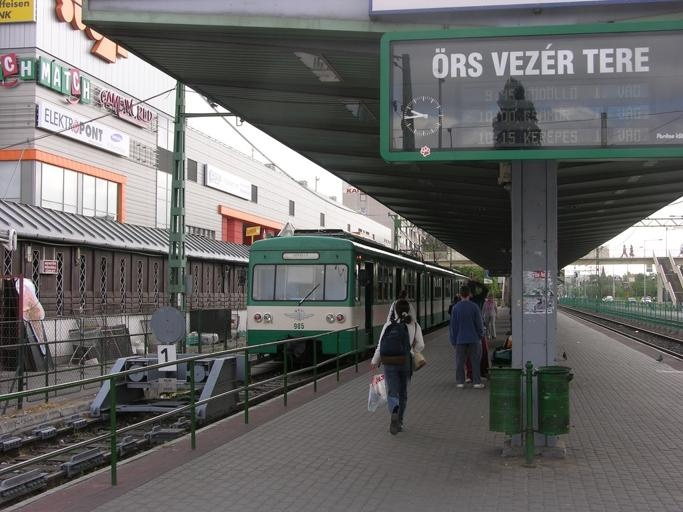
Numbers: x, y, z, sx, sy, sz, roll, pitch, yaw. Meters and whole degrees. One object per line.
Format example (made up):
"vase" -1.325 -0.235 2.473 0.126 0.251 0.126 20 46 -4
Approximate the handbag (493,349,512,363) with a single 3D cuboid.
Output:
"handbag" 2.959 1.849 13.033 0.342 0.290 0.380 2 -4 11

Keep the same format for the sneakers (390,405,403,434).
"sneakers" 0.797 2.405 10.373 0.152 0.452 0.187 -2 -8 22

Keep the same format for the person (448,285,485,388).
"person" 2.473 1.584 13.917 0.646 1.868 0.715 -2 -1 3

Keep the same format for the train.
"train" 0.549 1.362 23.102 2.491 2.707 13.219 -2 -5 16

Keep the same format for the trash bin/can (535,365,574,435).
"trash bin/can" 2.705 1.843 9.457 0.716 1.031 0.626 -3 -2 22

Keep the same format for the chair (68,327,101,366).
"chair" -6.420 2.276 17.705 0.552 0.979 0.550 -5 -25 0
